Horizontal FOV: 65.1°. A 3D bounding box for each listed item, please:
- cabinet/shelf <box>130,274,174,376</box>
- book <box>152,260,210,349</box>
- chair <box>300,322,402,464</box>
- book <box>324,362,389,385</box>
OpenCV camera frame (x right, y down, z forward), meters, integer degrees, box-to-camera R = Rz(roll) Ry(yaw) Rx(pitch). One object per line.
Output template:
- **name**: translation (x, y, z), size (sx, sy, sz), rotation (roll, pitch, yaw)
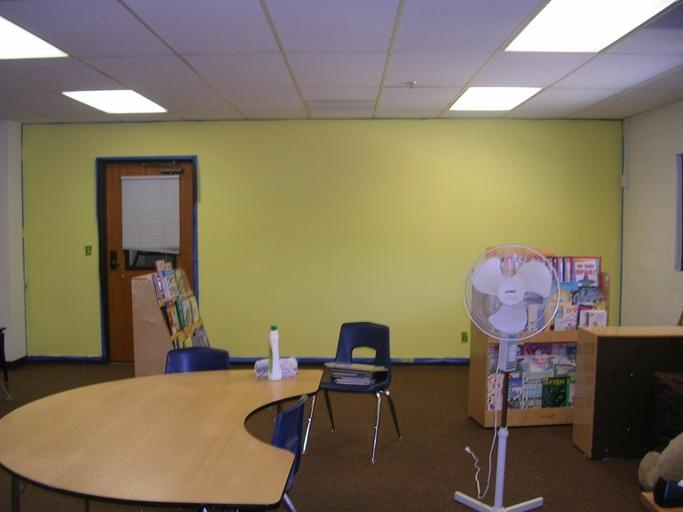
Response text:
- **cabinet/shelf**: translation (-1.928, 0.694, 5.344), size (0.385, 1.012, 0.305), rotation (8, 14, 34)
- **book**: translation (-1.765, 0.537, 5.851), size (0.306, 0.924, 0.891), rotation (-13, 6, 2)
- **chair**: translation (0.200, 1.168, 5.002), size (0.918, 1.593, 1.091), rotation (0, -5, 21)
- **book**: translation (0.112, 1.052, 4.791), size (0.299, 0.100, 0.315), rotation (0, -2, 13)
